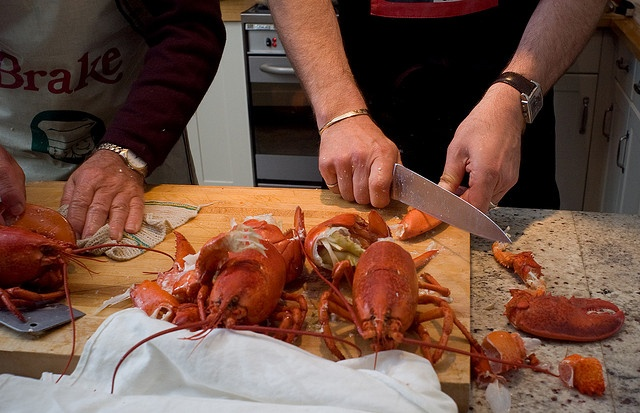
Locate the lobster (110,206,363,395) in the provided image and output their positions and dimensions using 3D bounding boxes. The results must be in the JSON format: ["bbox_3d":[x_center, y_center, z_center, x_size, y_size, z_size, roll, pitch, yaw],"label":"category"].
[{"bbox_3d":[-0.250,0.203,1.511,0.496,0.173,0.578,12,47,17],"label":"lobster"}]

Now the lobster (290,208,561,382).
[{"bbox_3d":[0.219,0.288,1.636,0.465,0.171,0.558,-6,45,0],"label":"lobster"}]
